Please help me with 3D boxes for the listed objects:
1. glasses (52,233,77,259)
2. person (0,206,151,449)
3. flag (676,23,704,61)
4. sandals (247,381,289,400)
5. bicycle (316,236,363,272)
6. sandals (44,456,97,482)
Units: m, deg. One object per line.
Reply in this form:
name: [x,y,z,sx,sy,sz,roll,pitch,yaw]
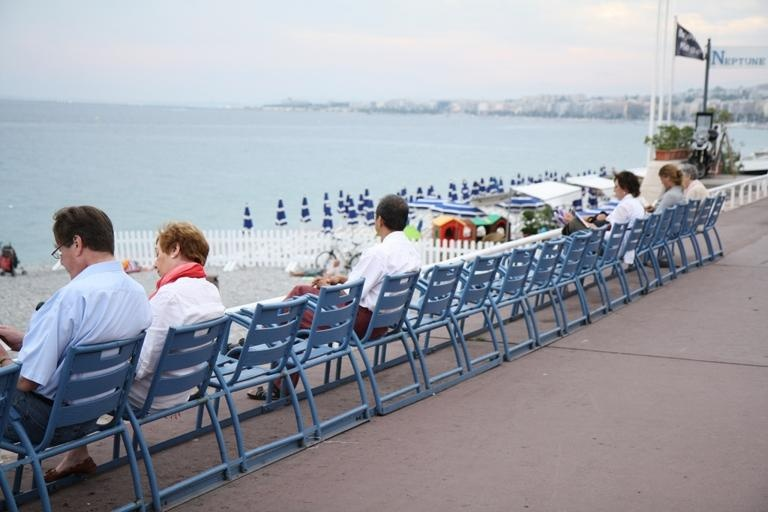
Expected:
glasses: [-2.225,-0.097,5.122,0.054,0.195,0.189,7,-11,9]
person: [-2.065,0.443,4.996,0.510,1.525,0.878,6,13,41]
flag: [10.537,-7.432,25.785,1.571,1.179,0.453,-10,12,-37]
sandals: [-1.079,1.212,6.681,0.424,0.172,0.158,-1,-2,25]
bicycle: [-1.468,-0.085,22.527,1.654,1.021,0.841,16,18,27]
sandals: [-2.265,1.541,5.440,0.388,0.161,0.141,-6,-1,-21]
